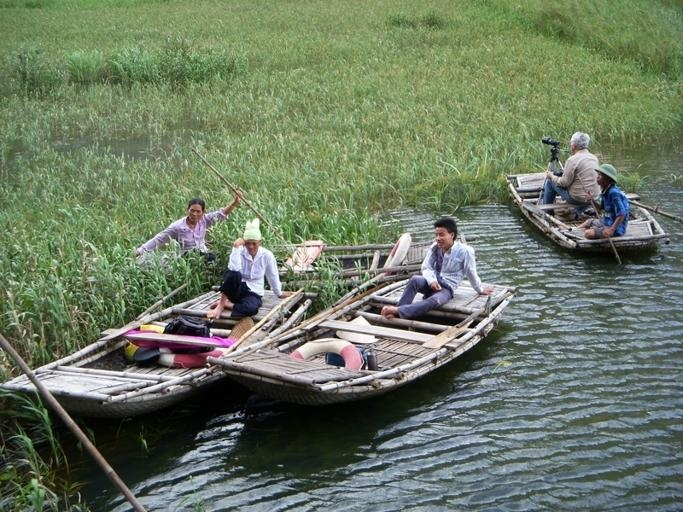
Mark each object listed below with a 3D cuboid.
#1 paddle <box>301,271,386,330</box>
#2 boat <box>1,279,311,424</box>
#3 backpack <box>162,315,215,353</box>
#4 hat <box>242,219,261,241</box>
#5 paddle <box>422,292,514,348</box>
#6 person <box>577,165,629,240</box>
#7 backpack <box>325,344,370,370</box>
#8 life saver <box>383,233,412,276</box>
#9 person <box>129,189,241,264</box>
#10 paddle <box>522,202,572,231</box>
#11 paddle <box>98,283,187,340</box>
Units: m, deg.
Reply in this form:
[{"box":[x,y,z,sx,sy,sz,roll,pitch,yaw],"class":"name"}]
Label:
[{"box":[-0.023,0.617,10.576,0.201,0.075,1.634,4,22,36],"class":"paddle"},{"box":[-2.188,1.281,9.505,1.444,0.391,2.541,10,22,32],"class":"boat"},{"box":[-1.882,0.922,9.710,0.536,0.212,0.493,0,11,-23],"class":"backpack"},{"box":[-1.152,-0.315,10.290,0.254,0.255,0.316,5,-4,-2],"class":"hat"},{"box":[1.598,0.769,10.141,0.240,0.181,1.858,23,29,29],"class":"paddle"},{"box":[3.926,-0.834,12.060,0.915,1.070,0.749,-23,23,-38],"class":"person"},{"box":[0.069,1.199,9.288,0.369,0.102,0.343,-24,39,-19],"class":"backpack"},{"box":[0.806,-0.043,11.454,0.256,0.202,0.703,-10,51,51],"class":"life saver"},{"box":[-2.412,-0.403,12.068,1.363,0.814,0.510,-10,15,-35],"class":"person"},{"box":[3.230,-0.652,12.859,0.060,0.211,1.228,-39,31,-9],"class":"paddle"},{"box":[-2.512,0.693,10.274,0.286,0.075,1.603,31,31,23],"class":"paddle"}]
